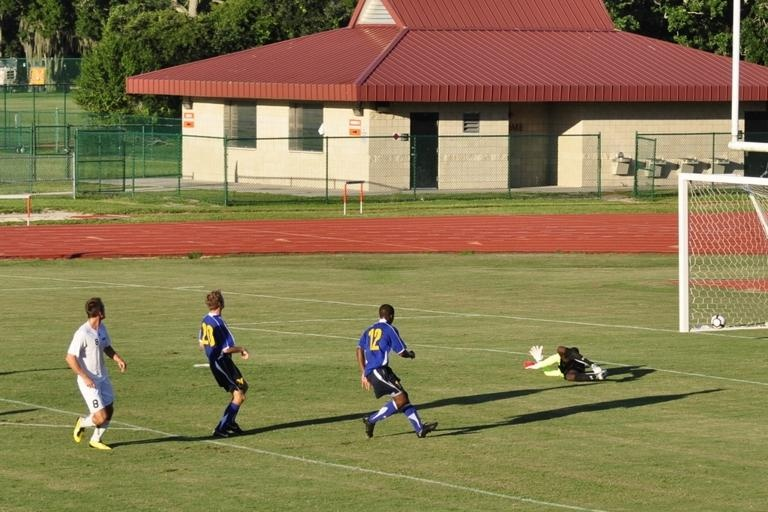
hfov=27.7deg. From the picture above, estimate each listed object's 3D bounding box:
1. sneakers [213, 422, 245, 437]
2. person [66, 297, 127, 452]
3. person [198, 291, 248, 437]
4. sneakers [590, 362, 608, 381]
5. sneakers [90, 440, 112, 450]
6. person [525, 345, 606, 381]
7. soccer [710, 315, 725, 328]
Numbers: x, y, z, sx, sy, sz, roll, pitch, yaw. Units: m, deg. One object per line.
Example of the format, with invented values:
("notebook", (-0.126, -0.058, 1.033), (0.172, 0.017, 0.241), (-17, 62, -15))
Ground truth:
("sneakers", (-3.438, 3.938, 35.310), (0.698, 0.248, 0.231), (-1, 10, -16))
("person", (-6.293, 2.603, 34.625), (1.170, 3.396, 0.833), (-1, 3, -5))
("person", (-3.524, 2.426, 34.878), (0.978, 3.318, 0.667), (-1, 3, -22))
("sneakers", (5.230, 2.809, 37.854), (0.238, 0.230, 0.584), (0, 7, -4))
("sneakers", (-6.230, 4.192, 34.714), (0.386, 0.114, 0.220), (3, 4, 7))
("person", (4.486, 2.618, 38.217), (1.590, 0.446, 0.959), (1, -1, 25))
("soccer", (8.981, 1.765, 42.194), (0.380, 0.312, 0.350), (7, -19, -30))
